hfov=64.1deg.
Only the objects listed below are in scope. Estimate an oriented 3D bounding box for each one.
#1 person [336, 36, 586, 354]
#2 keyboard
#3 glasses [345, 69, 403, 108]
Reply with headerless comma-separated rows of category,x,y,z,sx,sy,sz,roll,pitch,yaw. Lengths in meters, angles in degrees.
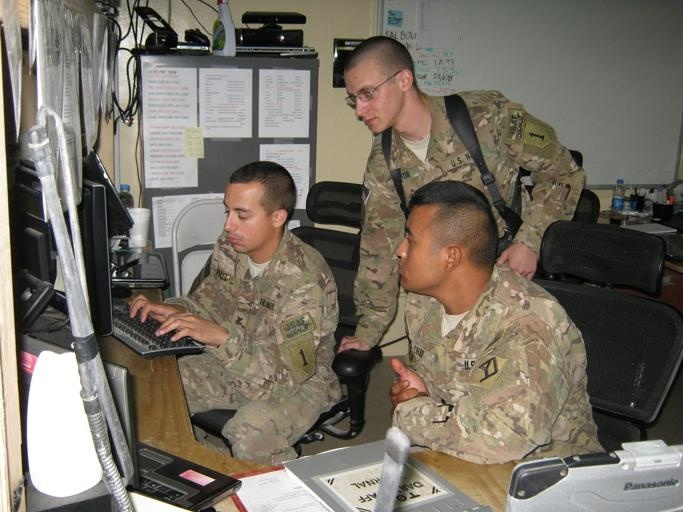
person,0.416,-0.449,2.894,1.263,1.796,1.115,-10,12,-27
keyboard,-0.674,0.277,1.912,0.412,0.054,0.158,14,38,44
glasses,0.136,-0.653,2.169,0.156,0.047,0.150,-40,12,-19
